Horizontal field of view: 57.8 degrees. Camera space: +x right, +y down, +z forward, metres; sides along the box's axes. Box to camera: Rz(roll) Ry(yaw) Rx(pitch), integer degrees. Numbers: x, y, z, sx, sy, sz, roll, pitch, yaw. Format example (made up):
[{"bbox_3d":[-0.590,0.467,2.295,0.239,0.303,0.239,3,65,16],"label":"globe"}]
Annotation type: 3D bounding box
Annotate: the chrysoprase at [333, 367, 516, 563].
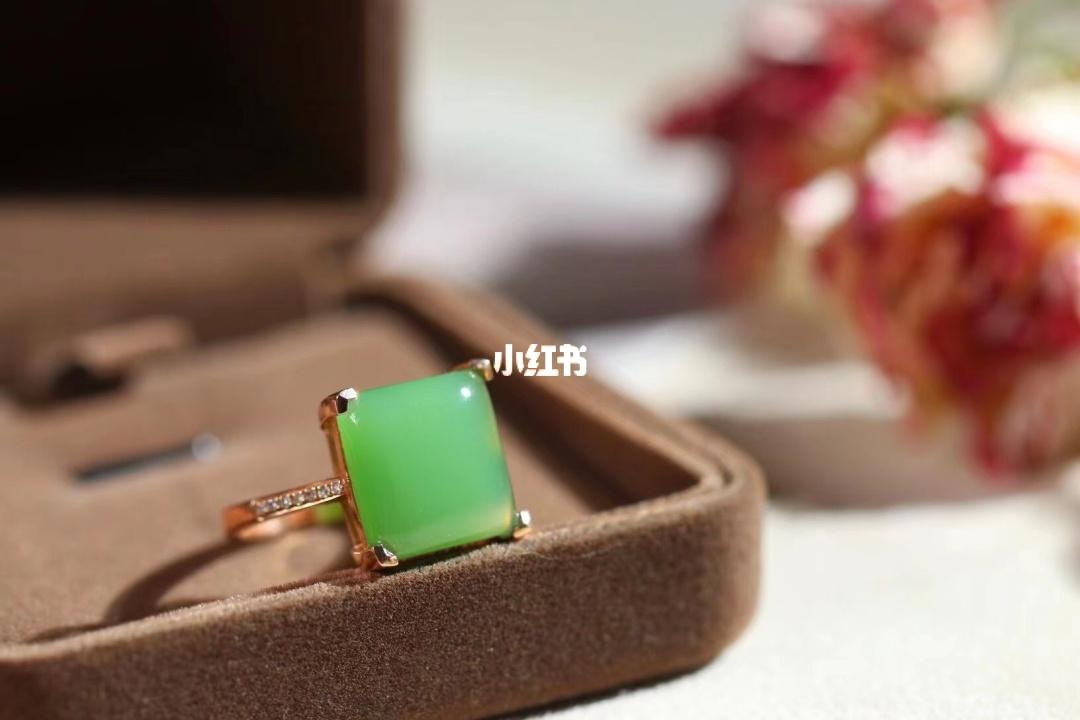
[{"bbox_3d":[-0.078,0.070,0.658,0.114,0.038,0.115,-14,63,-14],"label":"chrysoprase"}]
